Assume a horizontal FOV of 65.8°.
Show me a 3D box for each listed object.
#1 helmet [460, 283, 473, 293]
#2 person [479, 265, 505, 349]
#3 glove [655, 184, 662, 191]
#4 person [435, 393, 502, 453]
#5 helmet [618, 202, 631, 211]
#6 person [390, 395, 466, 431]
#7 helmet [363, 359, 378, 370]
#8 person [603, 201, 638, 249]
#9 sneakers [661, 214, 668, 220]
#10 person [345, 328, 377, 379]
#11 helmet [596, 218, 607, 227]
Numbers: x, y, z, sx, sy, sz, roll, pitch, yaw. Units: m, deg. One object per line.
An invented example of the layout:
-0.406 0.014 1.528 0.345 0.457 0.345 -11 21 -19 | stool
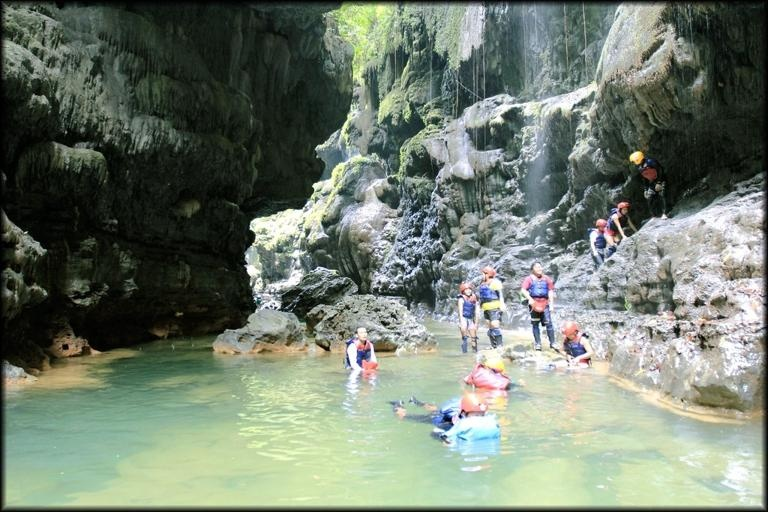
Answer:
2.079 0.811 15.154 0.246 0.259 0.439 -4 -7 3 | helmet
3.023 1.555 16.684 0.765 2.464 1.057 12 -32 -8 | person
7.444 -1.886 16.072 0.169 0.211 0.190 -6 -8 23 | glove
1.290 2.517 9.438 0.944 0.546 1.278 -9 19 -14 | person
6.795 -1.451 16.933 0.411 0.312 0.300 8 14 29 | helmet
0.798 2.634 9.864 0.557 0.303 0.896 4 -1 -43 | person
-0.343 2.451 13.176 0.304 0.233 0.367 -4 -7 7 | helmet
6.951 -0.862 17.354 0.724 1.351 0.850 -33 48 -24 | person
7.552 -1.044 15.952 0.111 0.094 0.229 22 0 -12 | sneakers
-0.537 2.114 13.219 0.703 1.019 0.743 -3 -7 -4 | person
6.457 -0.951 17.757 0.335 0.320 0.274 -4 10 38 | helmet
